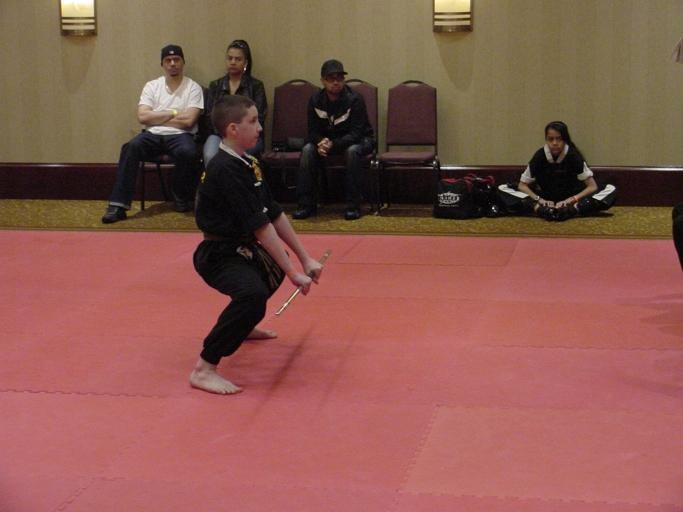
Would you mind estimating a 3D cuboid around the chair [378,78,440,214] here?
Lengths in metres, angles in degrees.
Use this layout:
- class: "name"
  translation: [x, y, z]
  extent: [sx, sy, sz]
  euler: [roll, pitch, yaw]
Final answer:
- class: "chair"
  translation: [0.638, -1.104, 5.865]
  extent: [0.674, 1.265, 0.988]
  euler: [1, 14, 9]

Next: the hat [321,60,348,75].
- class: "hat"
  translation: [-0.089, -1.766, 5.561]
  extent: [0.212, 0.161, 0.212]
  euler: [-4, 14, -14]

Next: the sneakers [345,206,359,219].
- class: "sneakers"
  translation: [0.087, -0.396, 5.424]
  extent: [0.133, 0.144, 0.369]
  euler: [1, -1, 6]

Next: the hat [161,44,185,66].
- class: "hat"
  translation: [-1.677, -2.009, 5.905]
  extent: [0.200, 0.158, 0.217]
  euler: [7, 19, 22]

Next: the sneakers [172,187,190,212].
- class: "sneakers"
  translation: [-1.571, -0.550, 5.823]
  extent: [0.146, 0.220, 0.274]
  euler: [-4, 14, -14]

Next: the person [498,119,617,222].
- class: "person"
  translation: [2.004, -0.690, 5.454]
  extent: [0.922, 0.851, 0.971]
  euler: [0, 7, 16]

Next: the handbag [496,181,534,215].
- class: "handbag"
  translation: [1.600, -0.497, 5.512]
  extent: [0.263, 0.122, 0.275]
  euler: [23, 25, 12]

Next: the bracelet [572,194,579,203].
- class: "bracelet"
  translation: [2.104, -0.518, 5.359]
  extent: [0.058, 0.047, 0.057]
  euler: [1, -4, -45]

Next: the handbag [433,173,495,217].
- class: "handbag"
  translation: [1.121, -0.527, 5.436]
  extent: [0.421, 0.336, 0.420]
  euler: [-2, 8, 14]

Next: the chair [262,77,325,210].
- class: "chair"
  translation: [-0.475, -1.150, 6.304]
  extent: [0.583, 1.191, 0.724]
  euler: [-1, -11, 11]

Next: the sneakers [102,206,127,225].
- class: "sneakers"
  translation: [-2.068, -0.365, 5.389]
  extent: [0.101, 0.128, 0.307]
  euler: [5, 1, 3]

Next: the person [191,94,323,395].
- class: "person"
  translation: [-0.364, -0.076, 2.348]
  extent: [0.550, 1.084, 0.545]
  euler: [-5, 14, -17]

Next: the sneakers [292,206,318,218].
- class: "sneakers"
  translation: [-0.345, -0.391, 5.552]
  extent: [0.093, 0.148, 0.328]
  euler: [0, -3, 17]
